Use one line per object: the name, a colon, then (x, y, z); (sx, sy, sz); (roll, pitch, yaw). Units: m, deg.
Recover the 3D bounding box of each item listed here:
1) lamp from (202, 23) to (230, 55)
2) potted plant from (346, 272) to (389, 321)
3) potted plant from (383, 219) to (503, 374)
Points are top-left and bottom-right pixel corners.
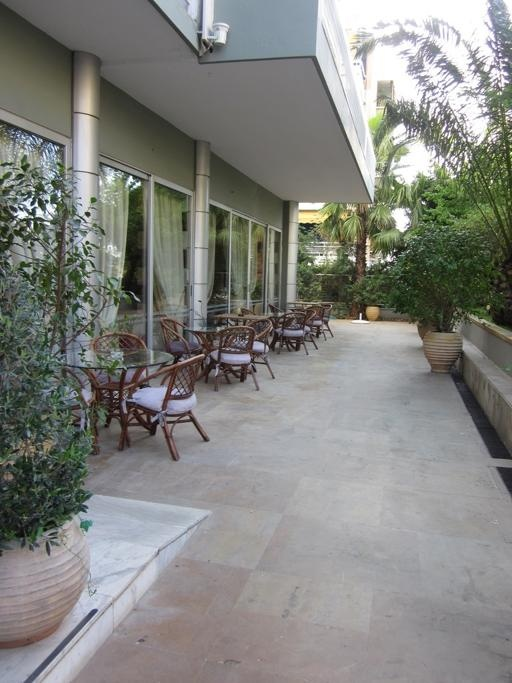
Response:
lamp: (-0.351, -2.751, 4.168); (0.237, 0.251, 0.130); (3, 5, -2)
potted plant: (4.086, -1.699, 16.338); (1.404, 1.463, 1.439); (-4, 22, -6)
potted plant: (2.469, -0.587, 6.324); (1.268, 2.127, 0.882); (5, 6, 25)
